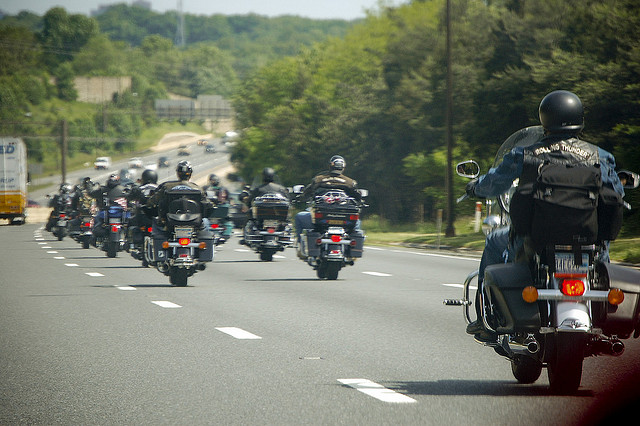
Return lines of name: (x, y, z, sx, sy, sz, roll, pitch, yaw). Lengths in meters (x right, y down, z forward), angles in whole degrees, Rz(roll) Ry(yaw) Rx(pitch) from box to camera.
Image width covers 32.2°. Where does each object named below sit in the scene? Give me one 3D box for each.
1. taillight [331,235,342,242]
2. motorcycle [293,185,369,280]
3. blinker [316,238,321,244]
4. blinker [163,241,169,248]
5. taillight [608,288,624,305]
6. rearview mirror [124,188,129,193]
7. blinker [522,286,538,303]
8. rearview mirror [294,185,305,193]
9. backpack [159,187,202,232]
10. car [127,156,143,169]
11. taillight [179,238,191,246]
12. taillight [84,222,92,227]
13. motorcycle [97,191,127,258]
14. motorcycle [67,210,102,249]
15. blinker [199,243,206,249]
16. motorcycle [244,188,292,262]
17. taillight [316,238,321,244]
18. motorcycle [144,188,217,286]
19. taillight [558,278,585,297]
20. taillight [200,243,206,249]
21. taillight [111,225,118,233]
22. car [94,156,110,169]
taillight: (0.346, 0.519, 22.789, 0.163, 0.085, 0.204, -1, -9, 6)
motorcycle: (0.284, 0.416, 23.141, 1.315, 1.931, 0.807, 10, 1, -2)
blinker: (-0.015, 0.573, 22.893, 0.103, 0.093, 0.089, 0, 21, 4)
blinker: (-2.959, 0.603, 21.277, 0.169, 0.127, 0.079, 1, 2, 7)
taillight: (3.474, 0.968, 12.911, 0.232, 0.195, 0.052, 8, 1, -20)
rearview mirror: (-5.039, -0.600, 28.851, 0.070, 0.117, 0.584, 10, 0, -15)
blinker: (2.465, 0.940, 12.892, 0.179, 0.190, 0.146, 9, 0, 8)
rearview mirror: (-0.446, -0.523, 23.920, 0.218, 0.125, 0.142, 3, -5, -20)
backpack: (-2.676, -0.086, 21.495, 0.759, 0.795, 0.353, 3, -6, -2)
car: (-22.012, -6.083, 131.825, 1.521, 0.820, 2.799, -3, 2, -6)
taillight: (-2.610, 0.548, 21.311, 0.194, 0.148, 0.060, 8, 1, -10)
taillight: (-6.941, 0.349, 33.123, 0.147, 0.150, 0.132, 3, 29, -4)
motorcycle: (-5.549, 0.042, 30.198, 1.068, 1.384, 2.721, -1, 12, -13)
motorcycle: (-6.782, 0.516, 33.402, 1.173, 1.097, 2.148, 2, 4, -17)
blinker: (-2.273, 0.624, 21.427, 0.146, 0.108, 0.034, -3, -1, -5)
motorcycle: (-1.277, 0.302, 28.470, 1.154, 1.890, 0.923, 10, 1, -4)
taillight: (-0.017, 0.570, 22.847, 0.104, 0.097, 0.086, 2, 41, 0)
motorcycle: (-2.701, 0.465, 21.621, 1.331, 1.896, 0.703, 9, 1, -6)
taillight: (2.926, 0.861, 12.758, 0.251, 0.137, 0.037, 2, 2, 13)
taillight: (-2.268, 0.626, 21.421, 0.169, 0.126, 0.085, 2, 4, 9)
taillight: (-5.393, 0.410, 29.129, 0.221, 0.152, 0.316, 4, -3, -17)
car: (-25.475, -5.897, 130.002, 1.372, 0.851, 1.983, -1, -3, -5)
